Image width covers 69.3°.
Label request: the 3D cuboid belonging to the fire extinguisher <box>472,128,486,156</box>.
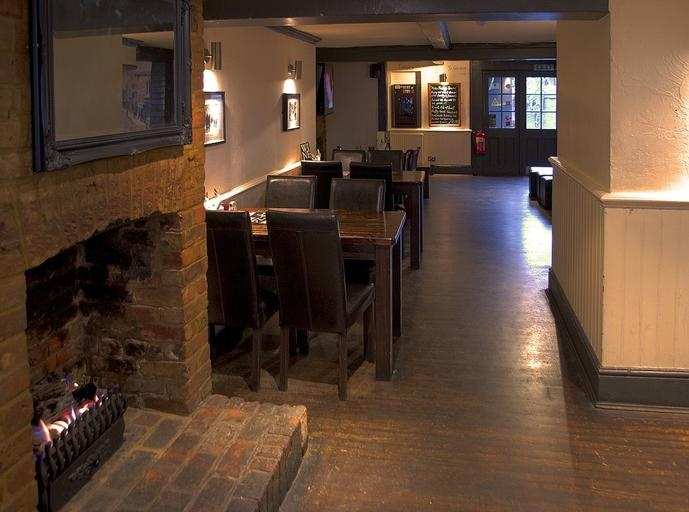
[{"bbox_3d":[3.502,-2.925,12.923,0.365,0.669,0.209,1,13,6],"label":"fire extinguisher"}]

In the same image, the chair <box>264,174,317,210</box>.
[{"bbox_3d":[-0.527,-0.604,5.075,0.342,0.561,0.387,3,3,6],"label":"chair"}]

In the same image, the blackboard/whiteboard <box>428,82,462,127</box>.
[{"bbox_3d":[2.608,-3.954,12.883,0.966,1.445,0.098,0,5,4],"label":"blackboard/whiteboard"}]

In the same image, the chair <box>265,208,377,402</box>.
[{"bbox_3d":[-0.179,0.277,3.617,0.678,1.332,0.847,7,16,30],"label":"chair"}]

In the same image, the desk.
[{"bbox_3d":[-0.125,0.432,4.130,0.969,1.021,1.265,-4,0,5],"label":"desk"}]
